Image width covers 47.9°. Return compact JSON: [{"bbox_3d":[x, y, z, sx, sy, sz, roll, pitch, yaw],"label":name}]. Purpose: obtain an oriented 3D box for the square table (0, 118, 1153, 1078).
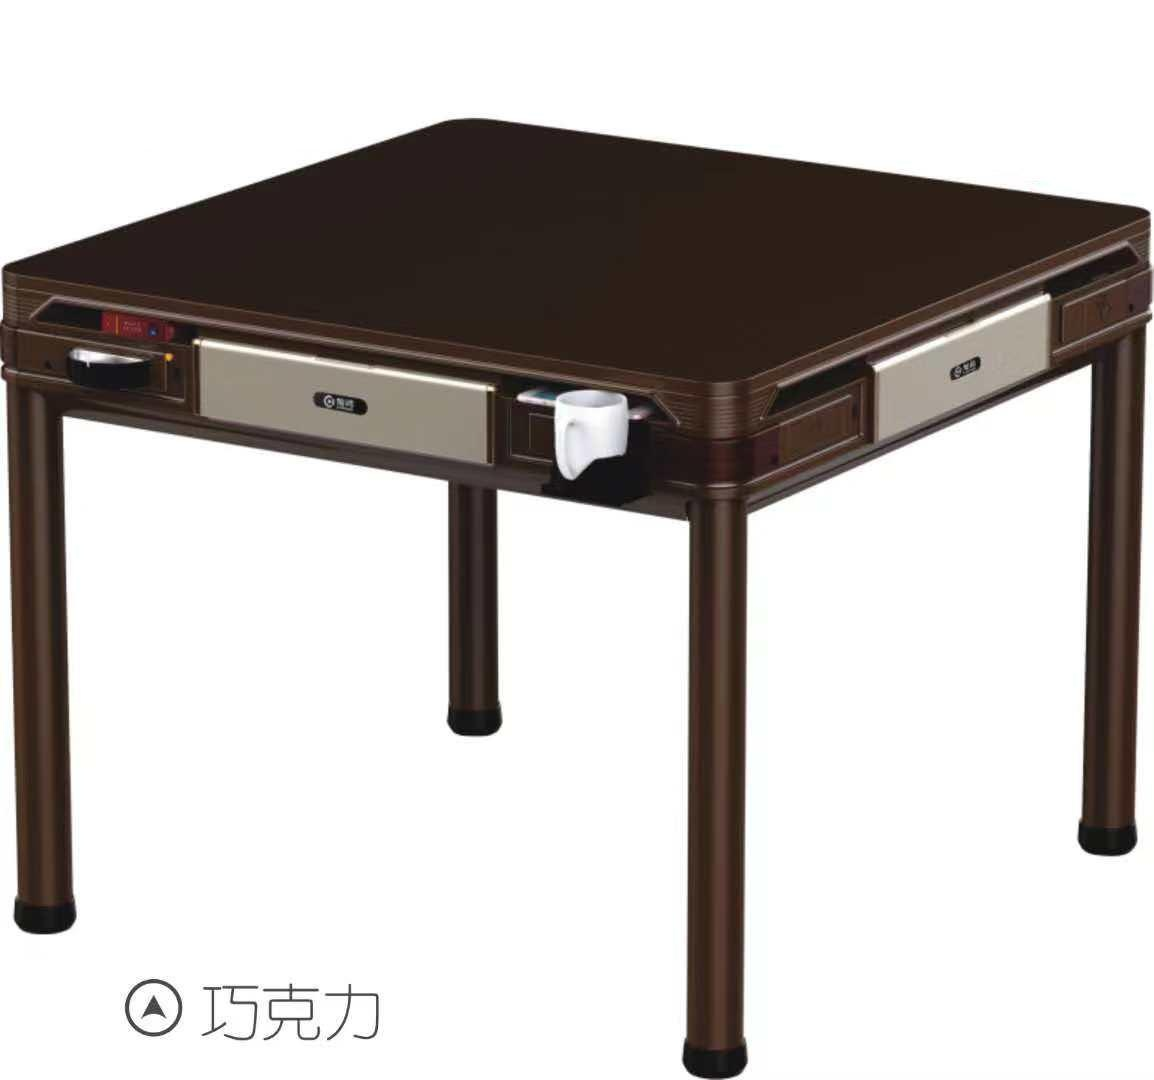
[{"bbox_3d":[0.125,-0.185,1.673,1.257,0.798,1.226,10,20,28],"label":"square table"}]
